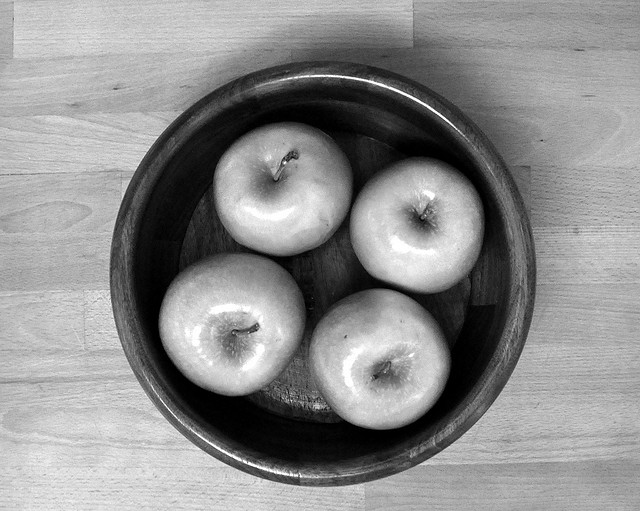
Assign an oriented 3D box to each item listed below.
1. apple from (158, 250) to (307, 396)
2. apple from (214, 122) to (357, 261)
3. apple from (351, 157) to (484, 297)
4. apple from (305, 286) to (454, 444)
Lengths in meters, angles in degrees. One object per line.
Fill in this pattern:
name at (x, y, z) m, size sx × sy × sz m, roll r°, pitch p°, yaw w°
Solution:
apple at (-0.109, 0.084, 0.940) m, size 0.180 × 0.170 × 0.176 m, roll 1°, pitch 94°, yaw -2°
apple at (-0.047, -0.088, 0.872) m, size 0.178 × 0.067 × 0.165 m, roll -3°, pitch 84°, yaw 0°
apple at (0.127, -0.033, 0.941) m, size 0.165 × 0.162 × 0.168 m, roll 2°, pitch 85°, yaw 2°
apple at (0.069, 0.148, 0.951) m, size 0.193 × 0.181 × 0.189 m, roll -7°, pitch 79°, yaw -5°
